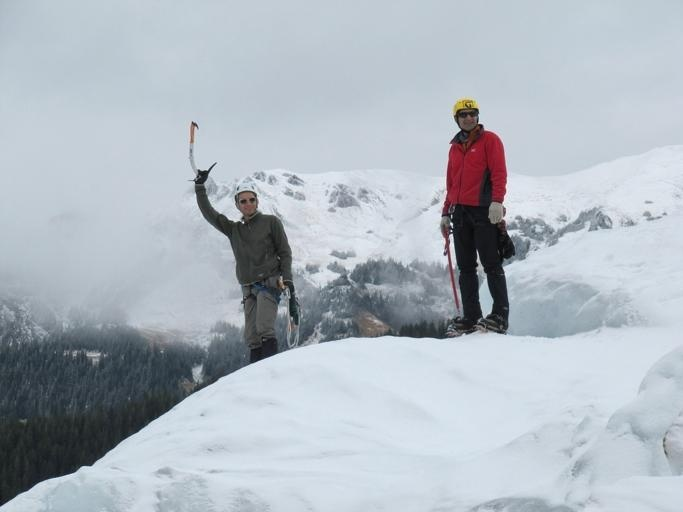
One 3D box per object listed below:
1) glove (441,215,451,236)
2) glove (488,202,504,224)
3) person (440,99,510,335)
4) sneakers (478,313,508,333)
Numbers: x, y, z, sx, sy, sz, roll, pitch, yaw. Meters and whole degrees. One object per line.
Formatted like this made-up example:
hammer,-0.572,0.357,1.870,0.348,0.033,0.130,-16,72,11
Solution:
glove,1.918,-0.556,13.777,0.115,0.367,0.244,5,-13,-2
glove,2.737,-0.750,13.075,0.255,0.310,0.335,2,3,-3
person,2.394,-0.701,13.403,1.253,4.240,0.684,-5,-1,26
sneakers,2.660,1.193,13.232,0.533,0.275,0.270,17,-8,-8
